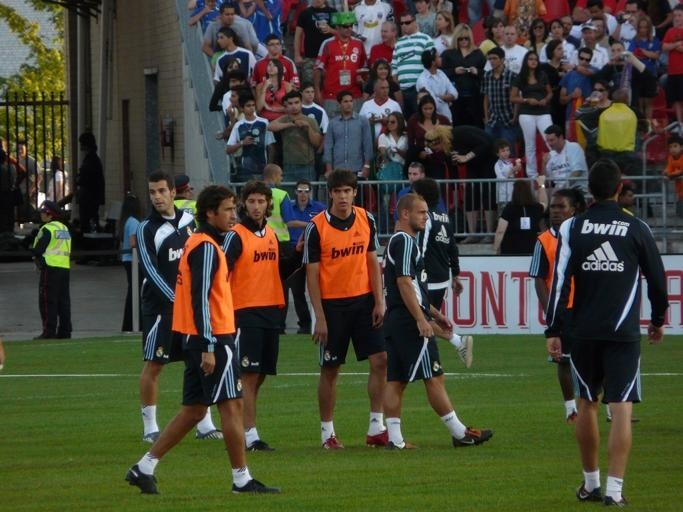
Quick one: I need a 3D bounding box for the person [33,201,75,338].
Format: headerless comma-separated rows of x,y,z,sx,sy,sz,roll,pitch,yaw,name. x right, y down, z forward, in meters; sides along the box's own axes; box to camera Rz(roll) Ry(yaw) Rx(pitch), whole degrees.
-4.721,0.415,27.402,0.678,1.898,0.355,-1,2,-29,person

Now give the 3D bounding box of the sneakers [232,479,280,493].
-1.000,2.730,19.757,0.544,0.206,0.199,-1,-1,-1,sneakers

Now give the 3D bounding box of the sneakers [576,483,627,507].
3.057,2.807,19.540,0.575,0.256,0.217,-1,-7,8,sneakers

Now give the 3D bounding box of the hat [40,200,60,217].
-4.865,-0.781,28.032,0.303,0.128,0.227,24,5,-1,hat

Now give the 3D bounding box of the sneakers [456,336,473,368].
1.695,1.337,22.560,0.229,0.519,0.175,-8,15,2,sneakers

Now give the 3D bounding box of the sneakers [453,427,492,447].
1.659,2.264,21.118,0.521,0.245,0.213,-11,15,2,sneakers

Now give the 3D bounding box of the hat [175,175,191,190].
-2.181,-0.986,22.988,0.184,0.211,0.309,0,2,-8,hat
